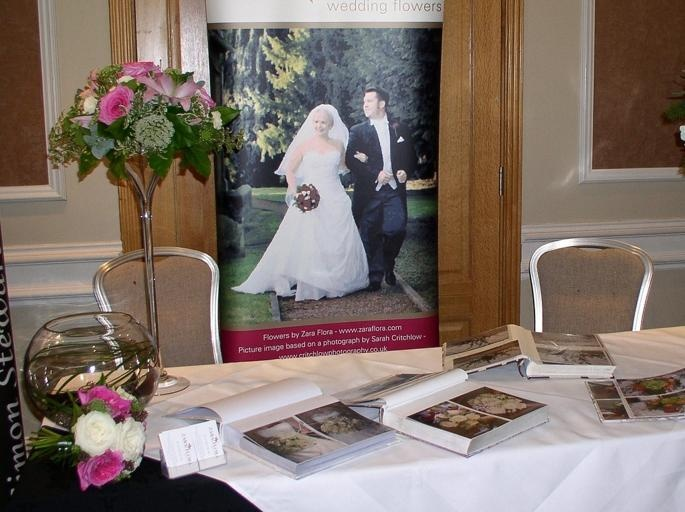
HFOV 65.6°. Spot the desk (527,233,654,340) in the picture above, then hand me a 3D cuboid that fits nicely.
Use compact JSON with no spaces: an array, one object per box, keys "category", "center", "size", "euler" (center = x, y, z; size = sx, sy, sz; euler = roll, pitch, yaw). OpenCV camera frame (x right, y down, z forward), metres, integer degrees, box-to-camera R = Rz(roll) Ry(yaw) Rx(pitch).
[{"category":"desk","center":[1.104,0.242,2.463],"size":[0.434,0.693,0.493],"euler":[2,12,21]}]

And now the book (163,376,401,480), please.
[{"category":"book","center":[-0.107,0.396,1.243],"size":[0.180,0.044,0.312],"euler":[-10,13,-38]}]

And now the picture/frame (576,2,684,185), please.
[{"category":"picture/frame","center":[1.719,-1.019,3.299],"size":[0.543,1.085,0.134],"euler":[-5,14,-12]}]

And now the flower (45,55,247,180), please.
[{"category":"flower","center":[-0.644,-0.424,1.635],"size":[0.550,0.306,0.518],"euler":[-27,23,-12]}]
